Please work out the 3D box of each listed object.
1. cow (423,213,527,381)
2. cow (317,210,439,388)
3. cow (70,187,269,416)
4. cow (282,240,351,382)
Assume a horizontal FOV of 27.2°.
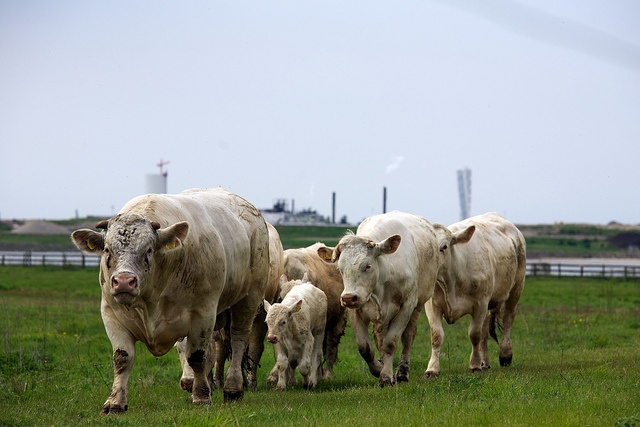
[{"bbox_3d":[5.155,2.790,44.338,3.312,4.999,6.182,3,-3,-11],"label":"cow"},{"bbox_3d":[2.135,2.732,43.723,2.893,5.765,7.862,-1,0,18],"label":"cow"},{"bbox_3d":[-4.318,2.595,40.443,5.480,6.774,1.894,3,-5,-42],"label":"cow"},{"bbox_3d":[0.099,3.316,45.149,2.092,4.503,3.044,2,-1,-2],"label":"cow"}]
